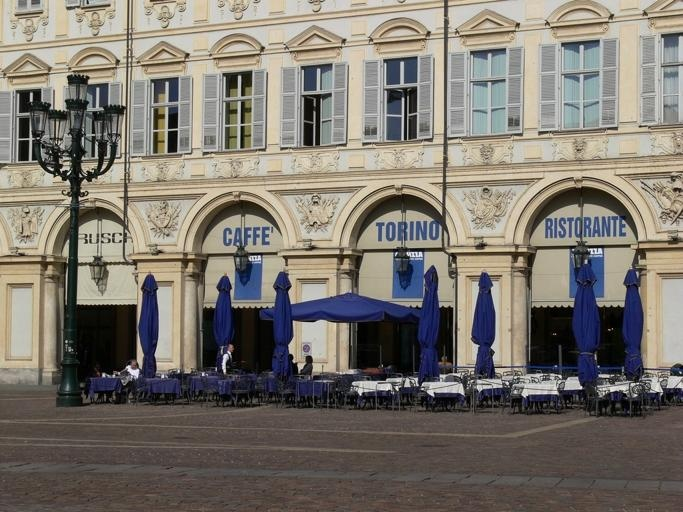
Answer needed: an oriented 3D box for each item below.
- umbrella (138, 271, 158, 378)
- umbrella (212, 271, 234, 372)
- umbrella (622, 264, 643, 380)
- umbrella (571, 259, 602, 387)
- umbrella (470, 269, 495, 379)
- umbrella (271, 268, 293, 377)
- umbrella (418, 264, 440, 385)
[{"bbox_3d":[-5.824,2.139,53.572,0.595,3.072,0.557,-5,2,5],"label":"umbrella"},{"bbox_3d":[-3.582,2.016,53.999,0.604,2.866,0.570,0,1,33],"label":"umbrella"},{"bbox_3d":[8.371,1.965,51.030,0.558,3.197,1.356,-2,-7,8],"label":"umbrella"},{"bbox_3d":[6.837,1.943,49.576,0.702,3.347,0.532,-2,-7,8],"label":"umbrella"},{"bbox_3d":[4.098,2.025,51.334,0.640,3.108,1.067,-2,-7,9],"label":"umbrella"},{"bbox_3d":[-1.719,2.071,51.831,0.567,3.135,0.616,-1,-7,-2],"label":"umbrella"},{"bbox_3d":[2.488,2.022,50.900,0.621,3.401,0.853,-1,-7,2],"label":"umbrella"}]
